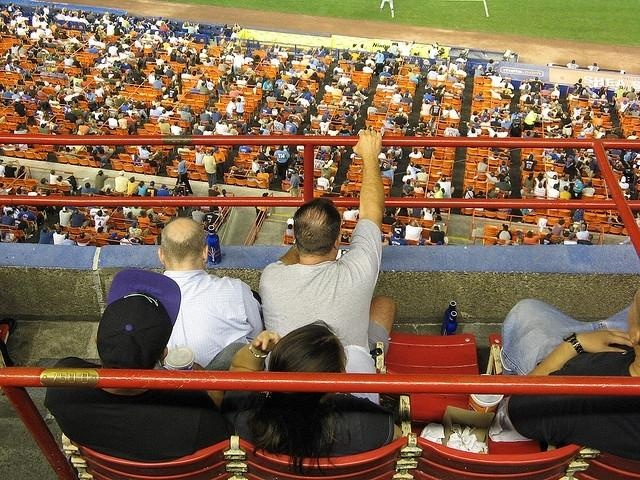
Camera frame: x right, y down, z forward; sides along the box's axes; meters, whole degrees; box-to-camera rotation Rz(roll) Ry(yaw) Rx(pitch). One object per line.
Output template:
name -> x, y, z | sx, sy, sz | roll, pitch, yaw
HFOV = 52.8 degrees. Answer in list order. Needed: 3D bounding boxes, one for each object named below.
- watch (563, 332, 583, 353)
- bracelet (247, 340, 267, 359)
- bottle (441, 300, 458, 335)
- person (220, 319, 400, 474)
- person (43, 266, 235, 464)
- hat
watch -> 1.507, 0.606, 3.856 | 0.075, 0.113, 0.118 | -35, -8, 1
bracelet -> -0.338, 0.597, 3.510 | 0.102, 0.036, 0.081 | 26, 8, -10
bottle -> 1.049, 0.629, 5.213 | 0.131, 0.276, 0.306 | 3, 7, 11
person -> -0.001, 0.913, 3.633 | 1.014, 0.704, 1.303 | 11, -23, 3
person -> -0.925, 0.734, 3.307 | 0.739, 1.055, 0.441 | 3, -22, -9
hat -> -0.959, 0.426, 3.460 | 0.410, 0.528, 0.182 | 5, -27, -3
